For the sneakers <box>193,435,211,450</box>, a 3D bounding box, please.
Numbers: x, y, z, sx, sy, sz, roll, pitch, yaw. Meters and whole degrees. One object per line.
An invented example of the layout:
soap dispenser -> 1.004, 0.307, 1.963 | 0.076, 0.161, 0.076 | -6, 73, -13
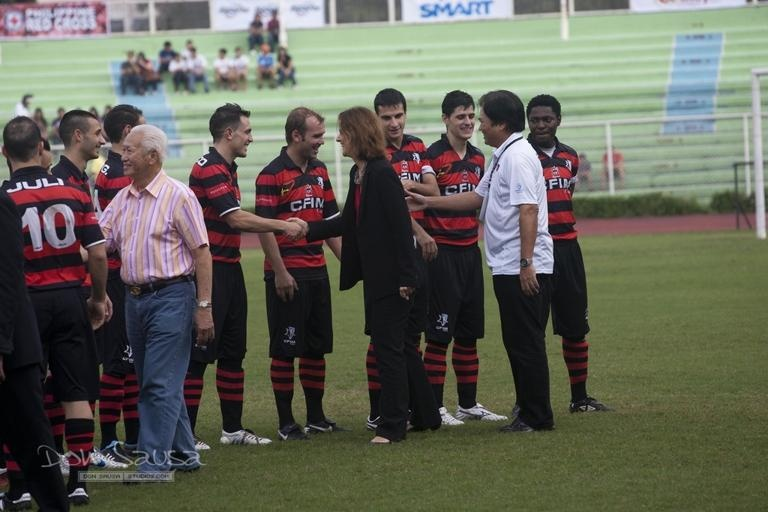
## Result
sneakers -> -1.587, 1.645, 13.251 | 0.201, 0.081, 0.067 | 1, 0, 27

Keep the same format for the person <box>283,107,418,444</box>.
person -> -0.075, 0.152, 13.277 | 0.816, 2.832, 1.102 | -9, 15, -15

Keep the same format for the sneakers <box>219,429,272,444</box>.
sneakers -> -1.200, 1.583, 13.300 | 0.461, 0.137, 0.157 | 0, -3, 2

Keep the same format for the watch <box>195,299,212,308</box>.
watch -> -1.495, 0.393, 12.662 | 0.091, 0.057, 0.081 | 3, 0, 2

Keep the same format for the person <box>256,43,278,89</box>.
person -> -2.604, -4.216, 33.692 | 0.488, 0.942, 0.705 | -6, 14, -4

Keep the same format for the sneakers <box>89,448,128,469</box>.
sneakers -> -2.397, 1.738, 12.997 | 0.417, 0.148, 0.131 | 8, 13, 0

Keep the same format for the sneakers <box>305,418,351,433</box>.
sneakers -> -0.492, 1.518, 13.621 | 0.409, 0.144, 0.134 | 0, -3, -11

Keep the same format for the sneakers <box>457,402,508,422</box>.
sneakers -> 0.917, 1.420, 13.727 | 0.485, 0.157, 0.160 | 1, -5, 5

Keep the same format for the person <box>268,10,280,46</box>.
person -> -2.484, -5.098, 34.172 | 0.284, 0.932, 0.683 | -7, 14, -7

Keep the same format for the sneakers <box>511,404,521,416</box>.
sneakers -> 1.219, 1.396, 13.682 | 0.093, 0.119, 0.051 | 12, -1, 36

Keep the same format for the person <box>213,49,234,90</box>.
person -> -3.530, -4.112, 33.361 | 0.392, 0.909, 0.932 | -7, 14, -6

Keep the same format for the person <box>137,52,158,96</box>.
person -> -5.243, -4.057, 33.633 | 0.517, 0.925, 0.764 | -7, 14, -8

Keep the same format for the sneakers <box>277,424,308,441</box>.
sneakers -> -0.795, 1.557, 13.385 | 0.234, 0.084, 0.137 | -4, 3, 34

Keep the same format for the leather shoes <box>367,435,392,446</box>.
leather shoes -> -0.018, 1.587, 13.124 | 0.220, 0.085, 0.075 | -4, -1, 28

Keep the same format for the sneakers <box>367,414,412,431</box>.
sneakers -> 0.015, 1.488, 13.532 | 0.457, 0.175, 0.146 | -5, -5, 21

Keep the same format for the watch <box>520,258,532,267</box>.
watch -> 1.257, 0.058, 13.136 | 0.094, 0.059, 0.087 | -12, -7, 35

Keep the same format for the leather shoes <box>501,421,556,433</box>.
leather shoes -> 1.292, 1.482, 13.223 | 0.448, 0.169, 0.152 | 1, -4, 12

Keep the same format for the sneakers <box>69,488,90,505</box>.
sneakers -> -2.479, 1.948, 12.279 | 0.156, 0.122, 0.102 | -8, 14, -15

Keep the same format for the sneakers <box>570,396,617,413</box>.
sneakers -> 1.893, 1.322, 13.535 | 0.373, 0.134, 0.129 | -3, -4, 19

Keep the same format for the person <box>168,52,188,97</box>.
person -> -4.524, -4.034, 33.434 | 0.320, 0.810, 0.531 | -10, 15, -17

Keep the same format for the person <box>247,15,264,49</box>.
person -> -2.873, -5.036, 34.023 | 0.387, 0.826, 0.583 | -6, 14, -4

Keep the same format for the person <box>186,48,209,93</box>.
person -> -4.138, -4.124, 33.513 | 0.430, 1.016, 0.618 | -6, 14, -4
